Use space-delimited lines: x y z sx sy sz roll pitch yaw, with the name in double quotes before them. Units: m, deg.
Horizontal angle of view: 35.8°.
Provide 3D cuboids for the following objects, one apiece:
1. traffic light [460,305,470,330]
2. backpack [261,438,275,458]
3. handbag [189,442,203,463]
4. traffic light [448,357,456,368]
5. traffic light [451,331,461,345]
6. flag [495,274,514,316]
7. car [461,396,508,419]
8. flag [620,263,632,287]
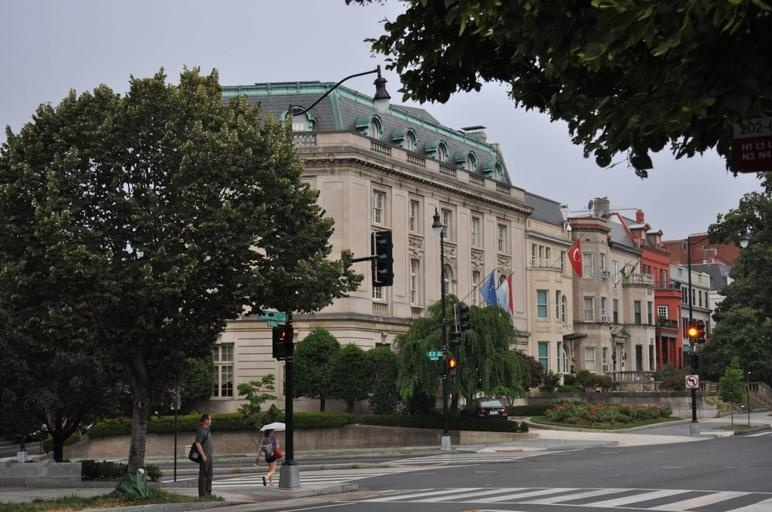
"traffic light" 3.516 2.658 53.462 0.481 1.111 0.721 -12 -9 2
"backpack" -4.178 6.731 42.489 0.494 0.703 0.761 -11 -9 -7
"handbag" -6.065 6.175 37.763 0.381 0.635 1.283 -10 -9 -10
"traffic light" 3.048 4.736 53.844 0.385 0.689 0.385 2 -6 -6
"traffic light" 3.097 3.591 52.935 0.533 0.751 0.503 -3 -11 17
"flag" 7.065 2.282 70.700 0.676 2.381 4.428 -13 -9 10
"car" 5.113 7.875 62.140 2.112 1.295 1.392 -13 -9 7
"flag" 18.810 1.469 93.558 0.558 1.726 0.772 20 5 41
